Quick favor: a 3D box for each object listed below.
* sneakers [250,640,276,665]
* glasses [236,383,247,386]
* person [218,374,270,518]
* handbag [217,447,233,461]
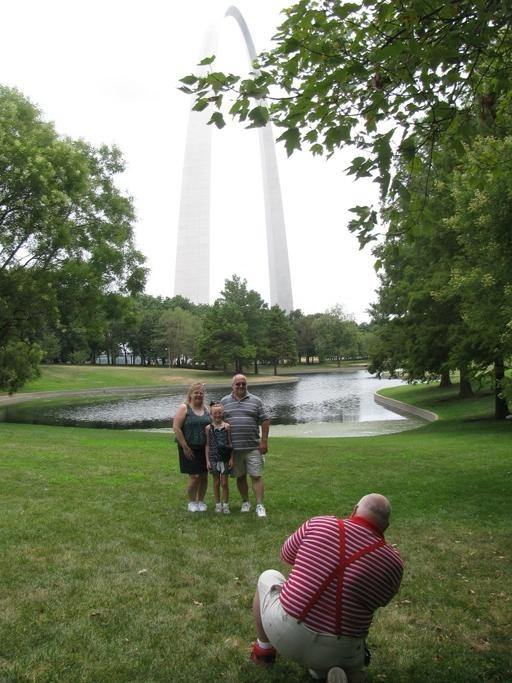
[{"bbox_3d":[0.038,1.977,3.758,0.183,0.159,0.127,7,-12,-7],"label":"sneakers"},{"bbox_3d":[-0.171,0.506,6.989,0.060,0.043,0.193,-2,-3,20],"label":"glasses"},{"bbox_3d":[-0.195,1.223,6.966,0.684,1.620,0.647,-4,-7,19],"label":"person"},{"bbox_3d":[-0.387,1.327,6.922,0.195,0.166,0.146,13,-9,-30],"label":"handbag"}]
